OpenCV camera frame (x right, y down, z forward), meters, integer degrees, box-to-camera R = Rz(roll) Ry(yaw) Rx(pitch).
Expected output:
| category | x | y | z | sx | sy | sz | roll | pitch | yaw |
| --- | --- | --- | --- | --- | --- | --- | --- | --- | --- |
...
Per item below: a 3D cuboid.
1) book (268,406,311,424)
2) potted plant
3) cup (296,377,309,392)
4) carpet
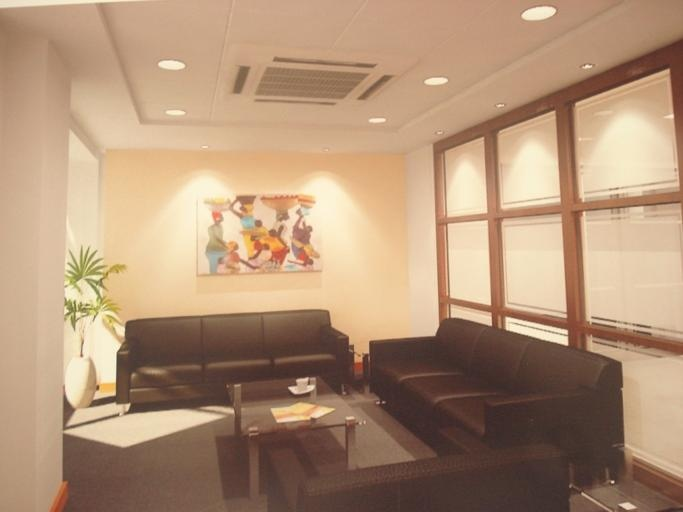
| category | x | y | z | sx | sy | sz | roll | pitch | yaw |
| --- | --- | --- | --- | --- | --- | --- | --- | --- | --- |
| book | -0.419 | 1.337 | 4.324 | 0.329 | 0.027 | 0.371 | -6 | 8 | -12 |
| potted plant | -2.870 | 0.759 | 5.905 | 0.792 | 1.833 | 1.163 | -8 | 9 | -18 |
| cup | -0.370 | 1.230 | 4.886 | 0.117 | 0.058 | 0.118 | 1 | 5 | 0 |
| carpet | -0.537 | 1.708 | 4.296 | 0.678 | 0.171 | 0.723 | 1 | -2 | -21 |
